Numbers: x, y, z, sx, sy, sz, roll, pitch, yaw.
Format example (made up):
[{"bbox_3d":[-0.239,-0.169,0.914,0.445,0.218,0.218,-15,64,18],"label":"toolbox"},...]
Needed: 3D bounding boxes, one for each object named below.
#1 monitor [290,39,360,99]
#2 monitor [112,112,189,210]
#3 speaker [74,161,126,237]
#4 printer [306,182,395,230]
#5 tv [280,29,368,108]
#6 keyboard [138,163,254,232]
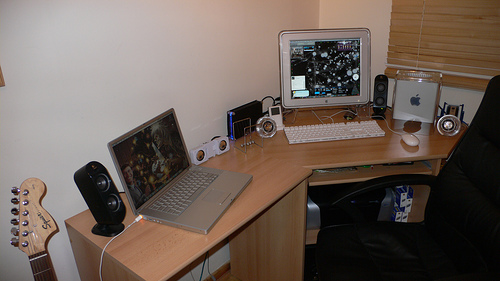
[{"bbox_3d":[0.586,-0.597,2.750,0.495,0.354,0.049,-2,13,-2],"label":"monitor"},{"bbox_3d":[-0.614,0.137,2.100,0.041,0.402,0.516,-5,23,45],"label":"monitor"},{"bbox_3d":[-0.853,0.324,1.946,0.251,0.403,0.164,4,27,16],"label":"speaker"},{"bbox_3d":[0.740,0.480,2.537,0.601,0.349,0.416,-5,18,-10],"label":"printer"},{"bbox_3d":[0.579,-0.601,2.748,0.687,0.532,0.056,-3,11,-2],"label":"tv"},{"bbox_3d":[-0.312,0.344,2.097,0.412,0.042,0.436,10,37,19],"label":"keyboard"}]
